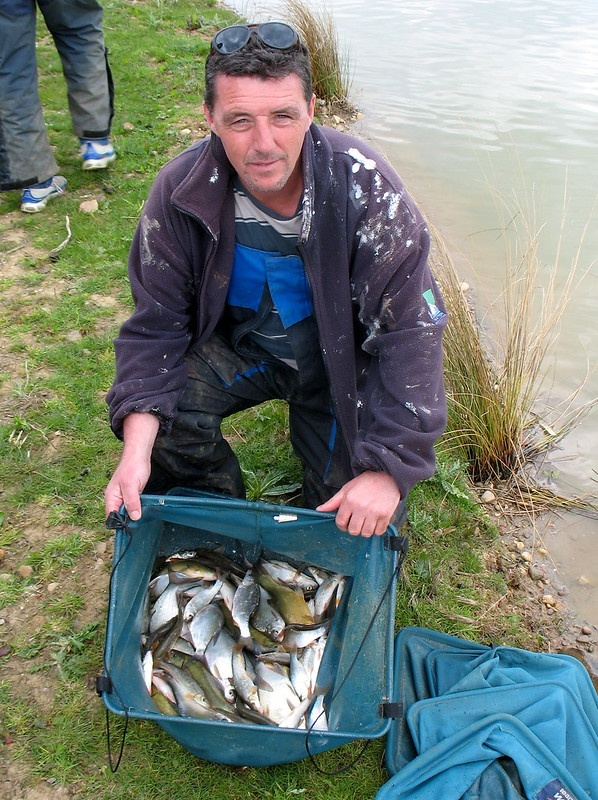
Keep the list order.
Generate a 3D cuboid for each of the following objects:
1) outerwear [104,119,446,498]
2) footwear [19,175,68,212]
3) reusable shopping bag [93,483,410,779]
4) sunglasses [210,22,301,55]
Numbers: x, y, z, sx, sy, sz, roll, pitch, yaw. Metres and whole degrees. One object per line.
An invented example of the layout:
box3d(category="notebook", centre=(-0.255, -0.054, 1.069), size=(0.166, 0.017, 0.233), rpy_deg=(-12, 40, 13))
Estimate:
box3d(category="outerwear", centre=(-0.086, -0.312, 2.163), size=(1.115, 0.936, 0.773), rpy_deg=(6, 21, 13))
box3d(category="footwear", centre=(-1.751, -1.448, 4.736), size=(0.147, 0.189, 0.423), rpy_deg=(17, 43, 19))
box3d(category="reusable shopping bag", centre=(-0.157, 0.662, 2.015), size=(0.843, 0.567, 0.748), rpy_deg=(7, 39, 3))
box3d(category="sunglasses", centre=(-0.126, -1.028, 1.958), size=(0.252, 0.075, 0.161), rpy_deg=(-1, 39, -7))
